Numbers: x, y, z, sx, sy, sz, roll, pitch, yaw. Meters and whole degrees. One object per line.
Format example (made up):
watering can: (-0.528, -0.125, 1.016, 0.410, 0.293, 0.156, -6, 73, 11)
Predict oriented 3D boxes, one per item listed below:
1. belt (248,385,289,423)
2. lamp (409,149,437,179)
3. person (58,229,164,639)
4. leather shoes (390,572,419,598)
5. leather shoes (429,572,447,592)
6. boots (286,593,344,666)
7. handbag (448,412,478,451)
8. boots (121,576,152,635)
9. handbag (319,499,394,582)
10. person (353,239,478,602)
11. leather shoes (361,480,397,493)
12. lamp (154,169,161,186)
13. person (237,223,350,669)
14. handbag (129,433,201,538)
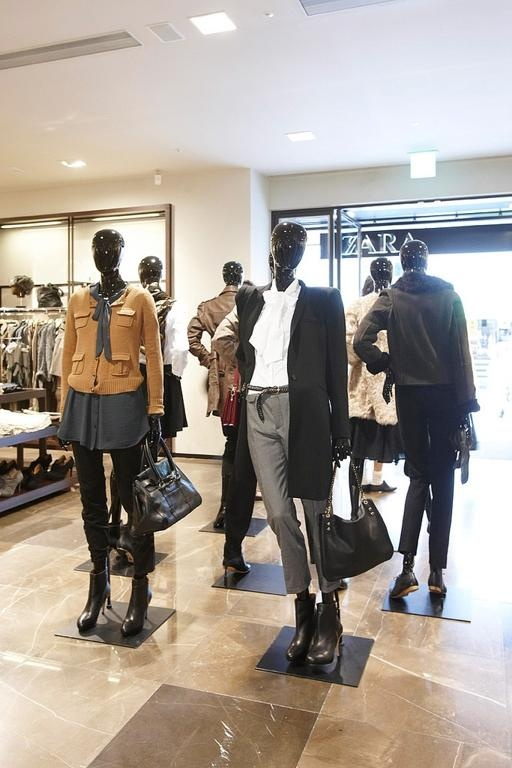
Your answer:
belt: (0.032, 0.059, 1.692, 0.094, 0.113, 0.032, -1, 2, 18)
lamp: (1.601, -2.122, 5.194, 0.224, 0.202, 0.129, 0, -1, 10)
person: (-0.544, 0.186, 2.012, 0.457, 1.487, 0.298, 0, -1, 18)
leather shoes: (0.621, 0.843, 2.264, 0.059, 0.095, 0.191, -9, -15, -12)
leather shoes: (0.792, 0.874, 2.366, 0.045, 0.077, 0.149, -1, -4, 18)
boots: (0.174, 0.790, 1.817, 0.168, 0.250, 0.233, -4, -9, 27)
handbag: (0.831, 0.203, 2.221, 0.128, 0.159, 0.060, 5, -11, -34)
boots: (-0.441, 0.811, 2.015, 0.068, 0.160, 0.213, 2, 19, 13)
handbag: (0.286, 0.481, 1.620, 0.240, 0.256, 0.120, 1, -2, -27)
person: (0.670, 0.146, 2.291, 0.496, 1.528, 0.176, -1, -2, 26)
leather shoes: (0.993, 0.833, 4.446, 0.319, 0.147, 0.119, 2, -4, -10)
lamp: (-1.050, -2.246, 5.848, 0.078, 0.164, 0.086, -1, -1, 6)
person: (0.122, 0.197, 1.710, 0.331, 1.426, 0.316, 0, -1, -2)
handbag: (-0.306, 0.355, 1.912, 0.189, 0.324, 0.307, 0, -1, 10)
